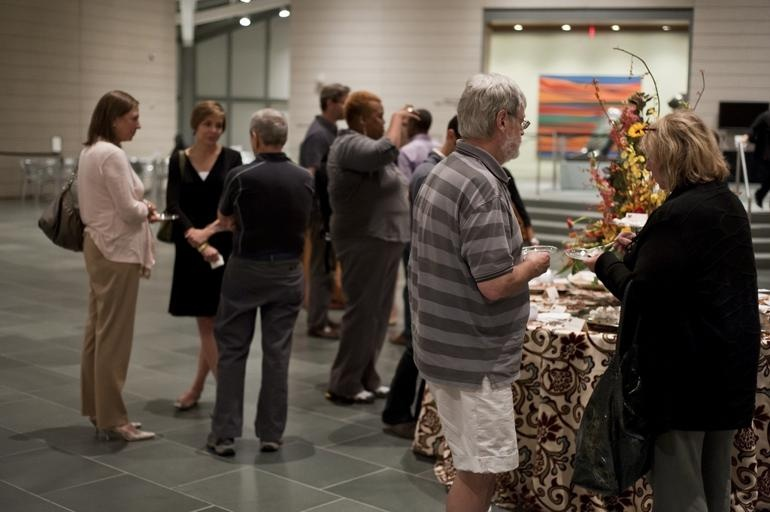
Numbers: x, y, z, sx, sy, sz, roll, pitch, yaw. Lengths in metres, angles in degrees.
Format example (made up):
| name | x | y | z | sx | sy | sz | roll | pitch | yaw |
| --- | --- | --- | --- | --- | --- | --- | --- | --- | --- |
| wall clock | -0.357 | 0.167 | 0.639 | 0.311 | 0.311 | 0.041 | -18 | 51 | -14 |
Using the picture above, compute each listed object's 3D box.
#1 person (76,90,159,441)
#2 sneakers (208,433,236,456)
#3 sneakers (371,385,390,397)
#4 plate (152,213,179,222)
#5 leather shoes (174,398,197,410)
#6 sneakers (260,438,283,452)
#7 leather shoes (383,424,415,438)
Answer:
| name | x | y | z | sx | sy | sz | roll | pitch | yaw |
| --- | --- | --- | --- | --- | --- | --- | --- | --- | --- |
| person | -1.638 | 0.084 | 4.504 | 0.465 | 2.174 | 0.356 | -2 | 12 | -18 |
| sneakers | -0.998 | 1.174 | 4.476 | 0.084 | 0.099 | 0.222 | 1 | 4 | -25 |
| sneakers | -0.009 | 1.018 | 5.399 | 0.074 | 0.090 | 0.201 | -1 | -10 | -3 |
| plate | -1.396 | -0.253 | 4.632 | 0.170 | 0.043 | 0.040 | -1 | 10 | -2 |
| leather shoes | -1.389 | 1.040 | 5.089 | 0.060 | 0.075 | 0.141 | 6 | 7 | 41 |
| sneakers | -0.702 | 1.185 | 4.526 | 0.137 | 0.056 | 0.056 | 4 | 28 | 7 |
| leather shoes | 0.113 | 1.161 | 4.811 | 0.216 | 0.088 | 0.080 | -3 | 0 | 27 |
